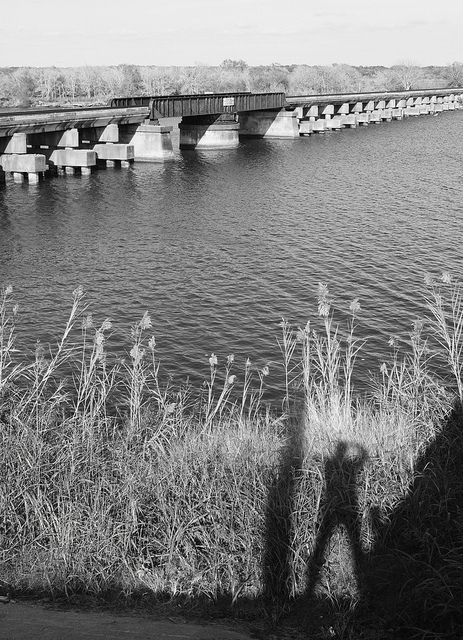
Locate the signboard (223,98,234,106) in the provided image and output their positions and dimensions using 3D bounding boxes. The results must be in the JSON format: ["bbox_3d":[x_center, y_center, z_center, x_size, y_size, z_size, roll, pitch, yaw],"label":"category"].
[{"bbox_3d":[-0.375,-24.401,82.073,0.659,0.978,0.206,-2,2,-5],"label":"signboard"}]
